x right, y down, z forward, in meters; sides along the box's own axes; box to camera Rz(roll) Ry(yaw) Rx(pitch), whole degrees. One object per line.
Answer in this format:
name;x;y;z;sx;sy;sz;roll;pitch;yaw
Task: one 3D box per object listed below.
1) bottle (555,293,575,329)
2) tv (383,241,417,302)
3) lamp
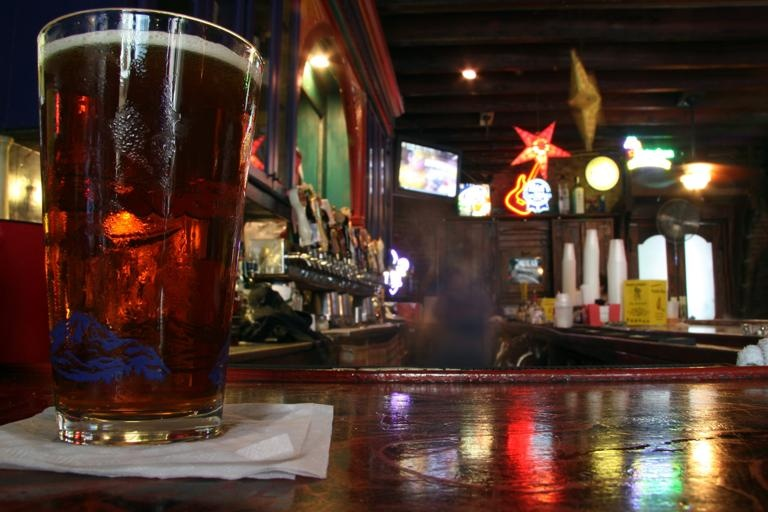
bottle;0.927;0.290;3.716;0.083;0.171;0.143;4;-5;-37
tv;0.200;0.253;9.406;0.165;0.873;0.930;-10;-3;28
lamp;4.022;-1.314;9.095;0.468;0.971;2.023;-1;-4;24
